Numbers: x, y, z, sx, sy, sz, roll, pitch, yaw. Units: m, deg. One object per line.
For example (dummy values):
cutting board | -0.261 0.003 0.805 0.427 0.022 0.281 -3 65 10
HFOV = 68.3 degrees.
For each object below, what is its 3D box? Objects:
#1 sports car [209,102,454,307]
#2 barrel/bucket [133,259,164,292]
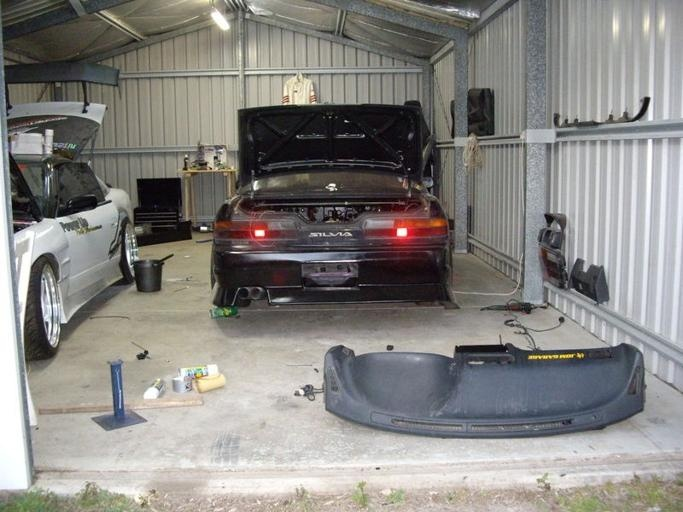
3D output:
sports car | -0.106 -0.932 6.454 2.365 2.016 4.384 0 14 1
barrel/bucket | -2.616 0.257 6.840 0.414 0.344 0.352 -1 4 -27
